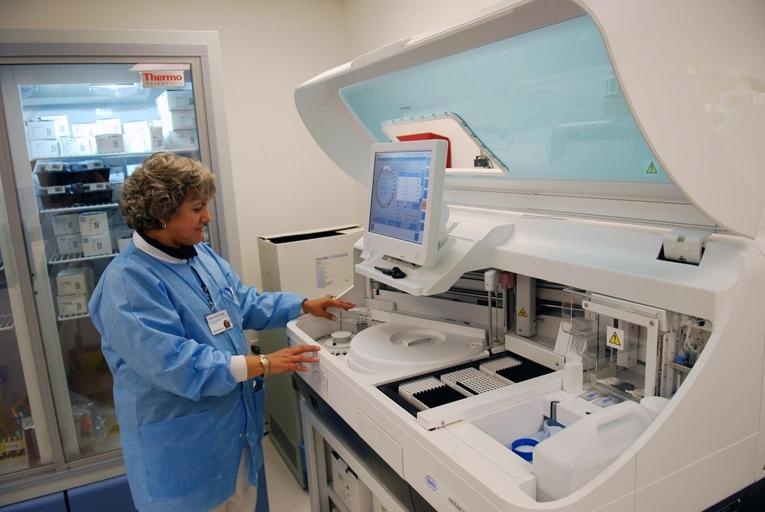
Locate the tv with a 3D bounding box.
[{"bbox_3d":[0.103,-0.210,2.042,0.191,0.496,0.499,-1,8,-40],"label":"tv"}]

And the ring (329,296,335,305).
[{"bbox_3d":[-0.239,0.201,2.431,0.024,0.033,0.011,3,-29,-39],"label":"ring"}]

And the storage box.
[{"bbox_3d":[-0.432,0.018,3.161,0.700,0.458,0.356,-11,23,-27],"label":"storage box"}]
